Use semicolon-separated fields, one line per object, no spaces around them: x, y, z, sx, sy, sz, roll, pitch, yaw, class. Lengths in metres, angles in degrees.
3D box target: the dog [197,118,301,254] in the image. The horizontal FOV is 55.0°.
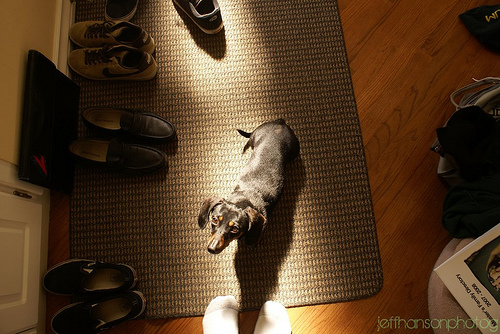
0.000;0.130;2.494;0.266;0.380;0.543;32;100;-6;dog
